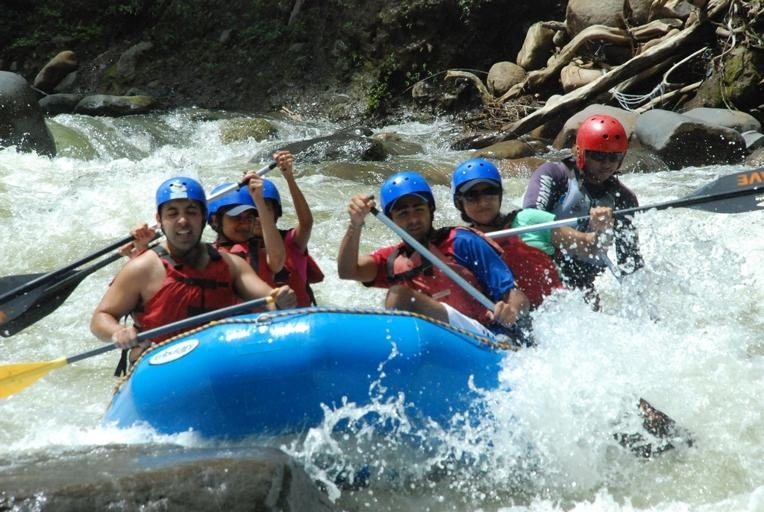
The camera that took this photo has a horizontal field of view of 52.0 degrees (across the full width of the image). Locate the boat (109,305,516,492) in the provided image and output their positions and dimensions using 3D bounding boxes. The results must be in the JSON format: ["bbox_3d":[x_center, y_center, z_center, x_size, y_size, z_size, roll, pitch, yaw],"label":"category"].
[{"bbox_3d":[-0.524,0.872,5.875,2.055,1.484,0.649,1,58,-37],"label":"boat"}]

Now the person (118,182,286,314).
[{"bbox_3d":[-1.507,-0.037,6.682,0.947,0.683,1.018,-9,61,-36],"label":"person"}]

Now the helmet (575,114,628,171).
[{"bbox_3d":[2.084,-1.126,7.519,0.400,0.509,0.458,3,74,-1],"label":"helmet"}]
